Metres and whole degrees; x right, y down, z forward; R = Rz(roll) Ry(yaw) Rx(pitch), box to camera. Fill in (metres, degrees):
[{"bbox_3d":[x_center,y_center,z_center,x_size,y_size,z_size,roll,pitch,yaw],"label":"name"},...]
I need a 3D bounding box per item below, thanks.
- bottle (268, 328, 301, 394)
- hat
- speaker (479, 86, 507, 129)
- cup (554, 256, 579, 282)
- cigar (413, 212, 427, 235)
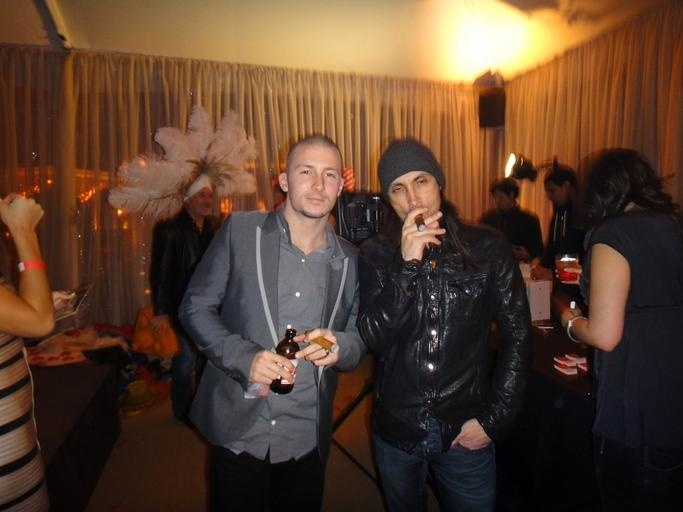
[{"bbox_3d":[-0.312,0.629,2.814,0.197,0.431,0.185,0,8,0],"label":"bottle"},{"bbox_3d":[0.438,-0.603,3.101,0.339,0.300,0.388,-24,-9,12],"label":"hat"},{"bbox_3d":[2.478,-2.459,7.760,0.390,0.760,0.403,14,26,37],"label":"speaker"},{"bbox_3d":[1.858,0.102,3.961,0.187,0.223,0.199,1,-8,0],"label":"cup"},{"bbox_3d":[0.468,-0.202,2.807,0.059,0.102,0.072,0,8,5],"label":"cigar"}]
